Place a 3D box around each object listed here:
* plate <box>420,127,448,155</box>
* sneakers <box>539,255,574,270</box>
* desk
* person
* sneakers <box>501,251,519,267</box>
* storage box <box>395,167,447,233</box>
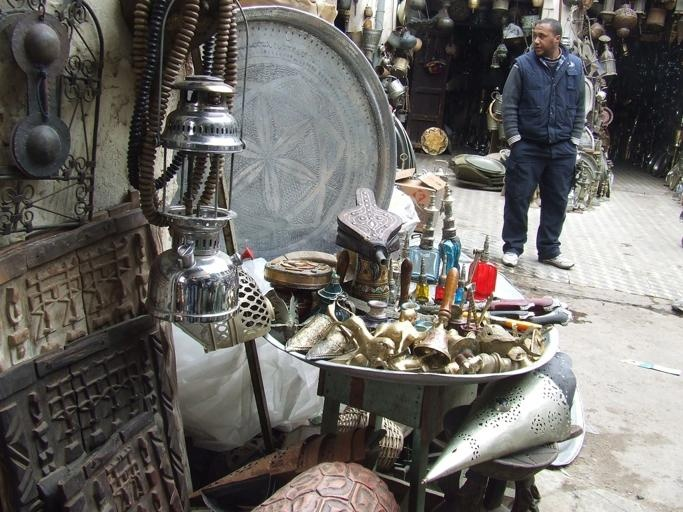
[{"bbox_3d":[2.036,-2.527,11.405,0.535,0.539,0.217,5,12,-3],"label":"plate"},{"bbox_3d":[2.242,0.067,5.459,0.358,0.163,0.136,8,23,24],"label":"sneakers"},{"bbox_3d":[0.392,0.440,1.931,0.890,0.604,0.880,-17,27,-35],"label":"desk"},{"bbox_3d":[1.915,-1.018,4.995,0.883,2.270,0.407,0,13,-24],"label":"person"},{"bbox_3d":[1.687,0.025,5.198,0.129,0.128,0.310,2,3,17],"label":"sneakers"},{"bbox_3d":[0.652,-0.487,4.415,0.411,0.472,0.729,7,11,6],"label":"storage box"}]
